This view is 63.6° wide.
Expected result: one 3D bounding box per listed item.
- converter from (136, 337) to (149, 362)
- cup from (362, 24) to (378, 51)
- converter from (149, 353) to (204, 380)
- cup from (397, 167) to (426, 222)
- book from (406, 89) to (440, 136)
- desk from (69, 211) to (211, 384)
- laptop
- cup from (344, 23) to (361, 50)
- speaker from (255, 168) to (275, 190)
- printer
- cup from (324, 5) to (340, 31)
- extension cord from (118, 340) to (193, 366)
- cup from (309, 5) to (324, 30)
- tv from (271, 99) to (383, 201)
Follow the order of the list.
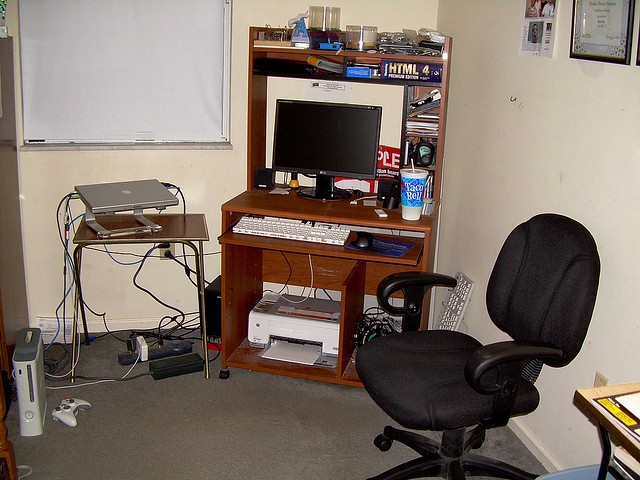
[{"bbox_3d":[-1.106,0.680,3.184,0.039,0.112,0.114,-8,17,-27],"label":"converter"},{"bbox_3d":[0.280,-1.143,2.932,0.082,0.126,0.119,4,18,9],"label":"cup"},{"bbox_3d":[-0.873,0.746,3.085,0.243,0.066,0.119,-9,19,-26],"label":"converter"},{"bbox_3d":[0.496,-0.247,2.816,0.126,0.298,0.131,4,19,-1],"label":"cup"},{"bbox_3d":[0.608,-0.745,3.017,0.185,0.256,0.089,9,19,22],"label":"book"},{"bbox_3d":[-1.121,0.281,3.144,0.831,0.928,0.822,-5,19,-18],"label":"desk"},{"bbox_3d":[-1.084,-0.234,2.875,0.489,0.127,0.325,-8,21,-28],"label":"laptop"},{"bbox_3d":[0.165,-1.164,2.969,0.122,0.150,0.129,2,28,-1],"label":"cup"},{"bbox_3d":[-0.345,-0.391,3.270,0.119,0.127,0.121,2,16,4],"label":"speaker"},{"bbox_3d":[-0.076,0.473,3.427,0.761,0.366,0.579,5,11,13],"label":"printer"},{"bbox_3d":[0.071,-1.296,3.023,0.077,0.130,0.100,1,18,0],"label":"cup"},{"bbox_3d":[-1.009,0.673,3.298,0.518,0.137,0.154,-7,3,-19],"label":"extension cord"},{"bbox_3d":[-0.035,-1.298,3.017,0.102,0.125,0.096,1,18,0],"label":"cup"},{"bbox_3d":[0.046,-0.557,3.095,0.611,0.539,0.057,6,13,16],"label":"tv"}]
